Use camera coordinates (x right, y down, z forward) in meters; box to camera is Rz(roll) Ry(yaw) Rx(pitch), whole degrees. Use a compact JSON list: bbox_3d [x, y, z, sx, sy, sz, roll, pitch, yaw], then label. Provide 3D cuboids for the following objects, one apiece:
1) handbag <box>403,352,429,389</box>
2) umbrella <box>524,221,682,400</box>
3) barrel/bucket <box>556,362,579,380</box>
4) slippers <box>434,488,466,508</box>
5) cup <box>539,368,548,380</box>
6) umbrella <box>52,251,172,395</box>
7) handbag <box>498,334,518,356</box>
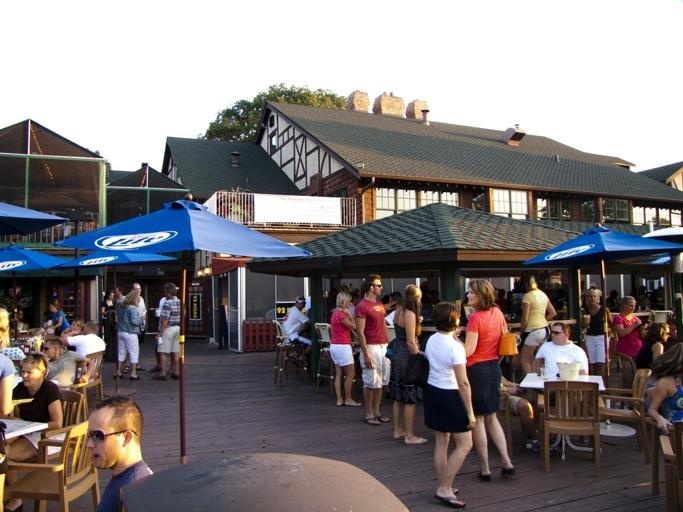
[{"bbox_3d":[0.850,1.280,7.494,0.268,0.350,0.199,1,-1,2],"label":"handbag"},{"bbox_3d":[4.472,0.742,11.144,2.225,2.093,2.159,-2,-8,-10],"label":"umbrella"},{"bbox_3d":[2.910,1.460,8.473,0.230,0.170,0.217,-1,-8,0],"label":"barrel/bucket"},{"bbox_3d":[1.178,2.612,7.176,0.260,0.105,0.152,-1,0,41],"label":"slippers"},{"bbox_3d":[2.733,1.581,8.924,0.144,0.072,0.192,-4,31,5],"label":"cup"},{"bbox_3d":[-5.559,1.516,15.549,3.020,3.157,3.096,-1,-6,-4],"label":"umbrella"},{"bbox_3d":[2.011,1.042,7.854,0.165,0.269,0.333,0,-1,42],"label":"handbag"}]
